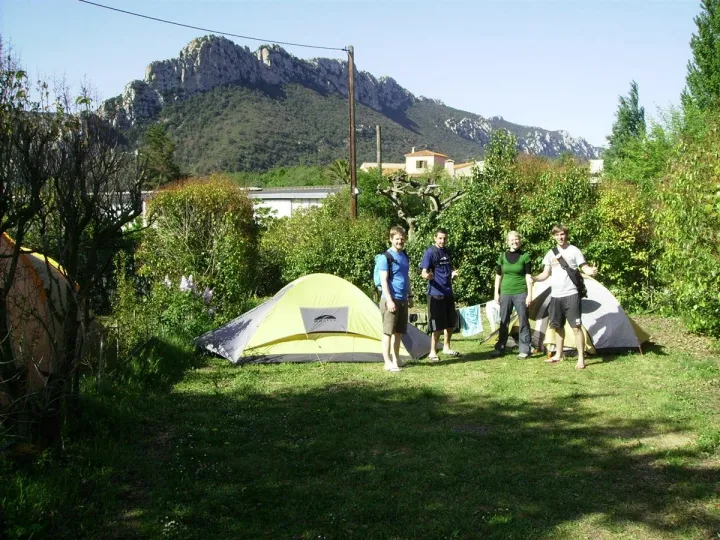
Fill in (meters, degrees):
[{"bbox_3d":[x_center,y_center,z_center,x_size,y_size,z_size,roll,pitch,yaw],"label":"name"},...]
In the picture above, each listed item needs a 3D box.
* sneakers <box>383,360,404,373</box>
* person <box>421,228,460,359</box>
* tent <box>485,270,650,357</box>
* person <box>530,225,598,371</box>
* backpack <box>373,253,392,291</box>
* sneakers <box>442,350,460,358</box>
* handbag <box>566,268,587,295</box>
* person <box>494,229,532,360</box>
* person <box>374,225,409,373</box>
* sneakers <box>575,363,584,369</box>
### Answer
[{"bbox_3d":[0.538,1.545,12.071,0.322,0.269,0.125,-1,4,-2],"label":"sneakers"},{"bbox_3d":[1.307,0.428,12.518,0.611,2.208,0.386,-4,9,-16],"label":"person"},{"bbox_3d":[3.670,0.515,13.268,1.577,0.887,1.833,-4,3,-9],"label":"tent"},{"bbox_3d":[3.258,0.423,11.989,0.787,2.270,0.923,0,9,9],"label":"person"},{"bbox_3d":[0.353,0.010,12.073,0.254,0.695,0.741,-4,10,-12],"label":"backpack"},{"bbox_3d":[1.610,1.475,13.245,0.277,0.145,0.112,1,9,-10],"label":"sneakers"},{"bbox_3d":[3.436,0.189,11.828,0.318,0.433,0.175,-7,10,-28],"label":"handbag"},{"bbox_3d":[2.573,0.440,12.621,0.601,2.221,0.697,0,9,11],"label":"person"},{"bbox_3d":[0.556,0.458,11.943,0.537,2.267,0.452,-5,10,-21],"label":"person"},{"bbox_3d":[3.488,1.504,11.853,0.145,0.073,0.186,1,11,15],"label":"sneakers"}]
